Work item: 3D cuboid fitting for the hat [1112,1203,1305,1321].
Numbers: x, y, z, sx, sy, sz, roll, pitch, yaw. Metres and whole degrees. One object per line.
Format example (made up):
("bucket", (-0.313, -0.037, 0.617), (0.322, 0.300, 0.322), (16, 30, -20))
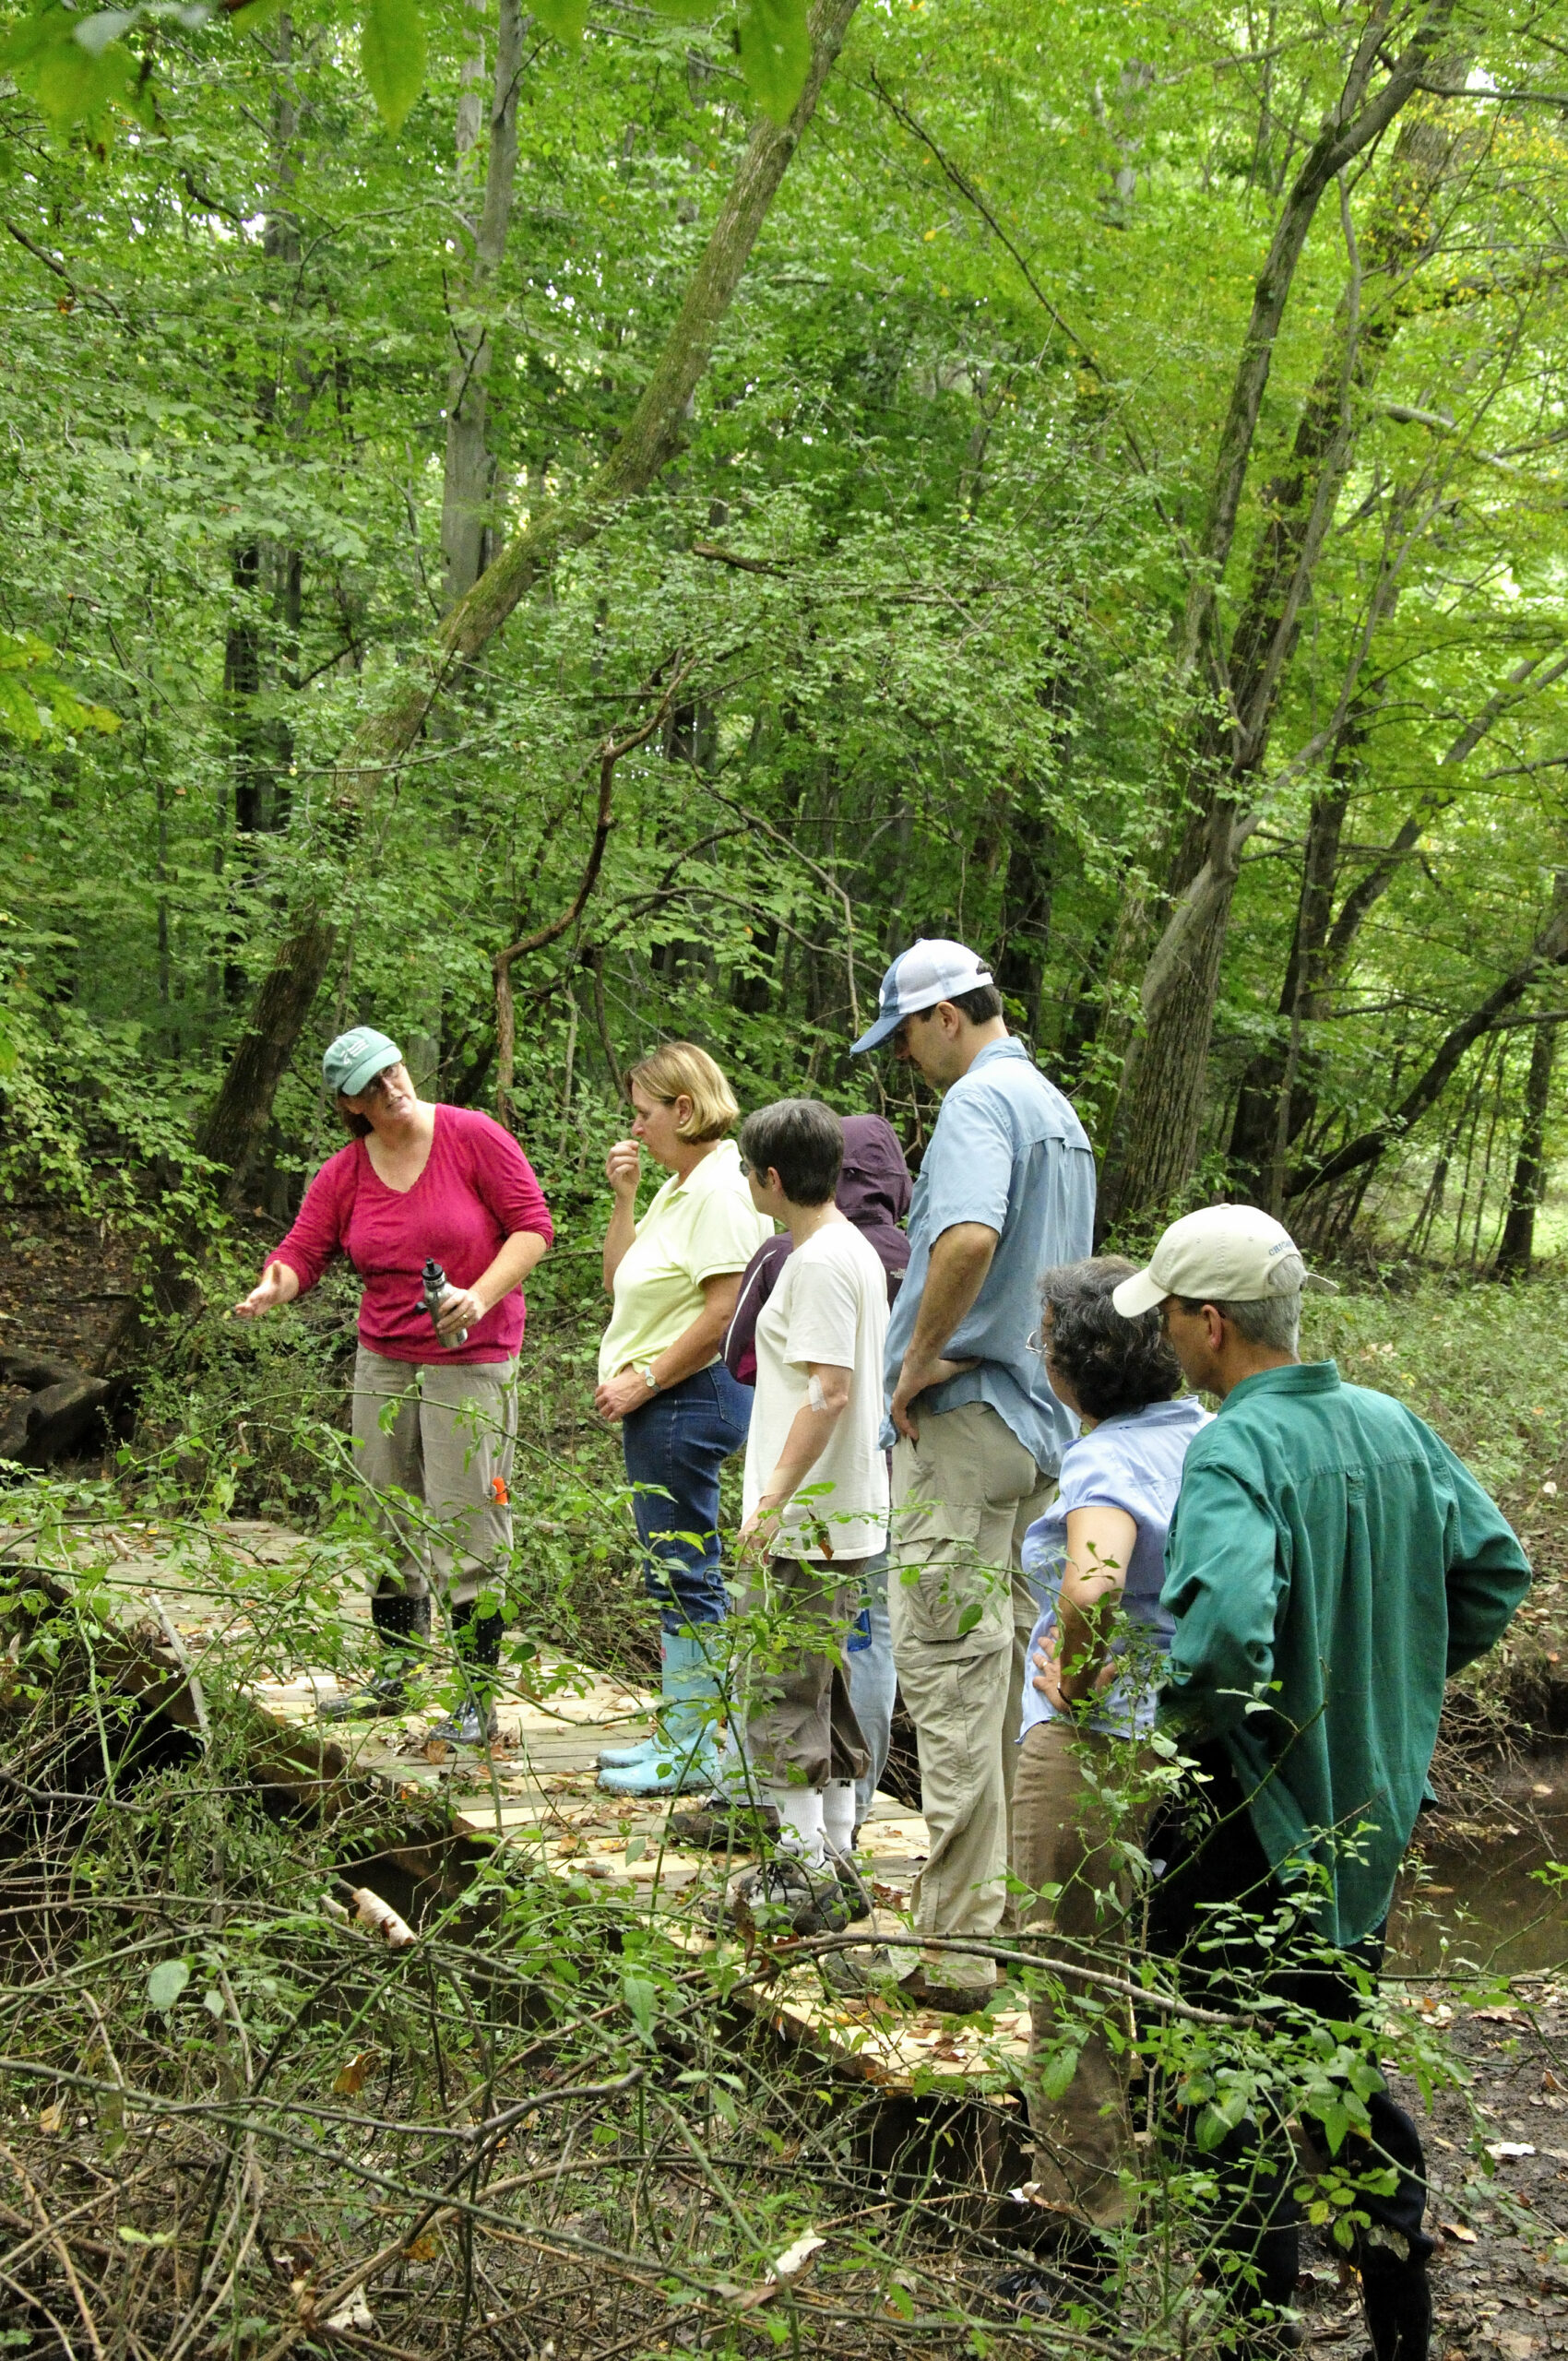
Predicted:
("hat", (0.583, 0.110, 2.891), (0.195, 0.104, 0.136), (3, 11, 32))

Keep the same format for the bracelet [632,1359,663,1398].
("bracelet", (-0.294, 0.426, 4.560), (0.033, 0.070, 0.056), (6, 7, -14))

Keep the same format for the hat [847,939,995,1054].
("hat", (0.240, -0.361, 4.256), (0.297, 0.154, 0.184), (-26, 7, 19))

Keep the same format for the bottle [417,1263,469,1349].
("bottle", (-0.766, 0.297, 4.811), (0.112, 0.205, 0.171), (8, 7, -9))

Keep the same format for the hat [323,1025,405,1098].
("hat", (-0.973, -0.259, 4.897), (0.137, 0.100, 0.189), (-33, 5, -21))
